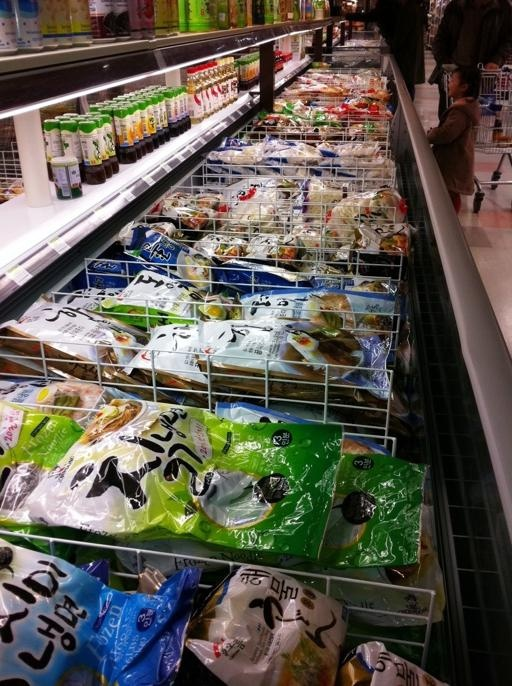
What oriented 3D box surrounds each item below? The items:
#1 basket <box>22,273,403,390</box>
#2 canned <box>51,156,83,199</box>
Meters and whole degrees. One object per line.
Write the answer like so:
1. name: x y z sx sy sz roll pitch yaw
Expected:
1. basket: -0.105 -0.035 1.019 0.608 0.141 0.368 6 33 5
2. canned: -0.680 -0.593 1.706 0.105 0.113 0.107 8 24 28
